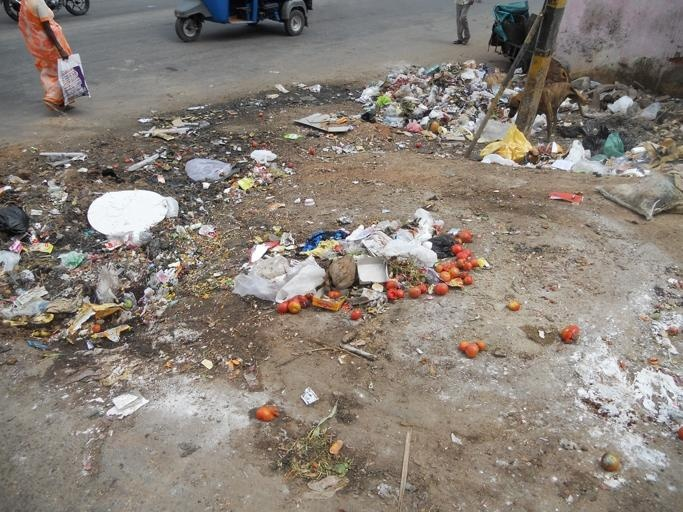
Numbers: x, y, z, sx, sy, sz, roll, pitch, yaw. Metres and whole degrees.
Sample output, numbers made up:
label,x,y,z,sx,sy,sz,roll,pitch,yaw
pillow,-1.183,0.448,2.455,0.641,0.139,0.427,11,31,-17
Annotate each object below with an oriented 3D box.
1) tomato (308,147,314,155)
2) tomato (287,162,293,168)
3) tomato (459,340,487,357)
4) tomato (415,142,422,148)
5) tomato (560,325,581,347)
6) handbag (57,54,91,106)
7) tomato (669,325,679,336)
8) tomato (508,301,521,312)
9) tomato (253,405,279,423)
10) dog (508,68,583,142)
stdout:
label,x,y,z,sx,sy,sz,roll,pitch,yaw
tomato,-0.524,-1.829,7.741,0.110,0.110,0.050,7,62,2
tomato,-0.854,-1.525,7.447,0.093,0.049,0.082,-5,37,-4
tomato,1.320,0.917,4.382,0.237,0.077,0.150,3,27,16
tomato,1.466,-2.065,8.254,0.123,0.097,0.066,-13,4,-5
tomato,2.343,0.799,4.478,0.180,0.098,0.196,5,31,29
handbag,-5.050,-3.286,8.344,0.753,0.912,0.456,19,41,6
tomato,3.400,0.758,4.470,0.096,0.030,0.090,3,19,30
tomato,1.869,0.525,4.702,0.126,0.070,0.148,29,46,35
tomato,-0.707,1.473,4.145,0.240,0.069,0.171,-6,36,-6
dog,3.931,-2.770,8.554,1.289,1.343,1.229,-12,41,-32
